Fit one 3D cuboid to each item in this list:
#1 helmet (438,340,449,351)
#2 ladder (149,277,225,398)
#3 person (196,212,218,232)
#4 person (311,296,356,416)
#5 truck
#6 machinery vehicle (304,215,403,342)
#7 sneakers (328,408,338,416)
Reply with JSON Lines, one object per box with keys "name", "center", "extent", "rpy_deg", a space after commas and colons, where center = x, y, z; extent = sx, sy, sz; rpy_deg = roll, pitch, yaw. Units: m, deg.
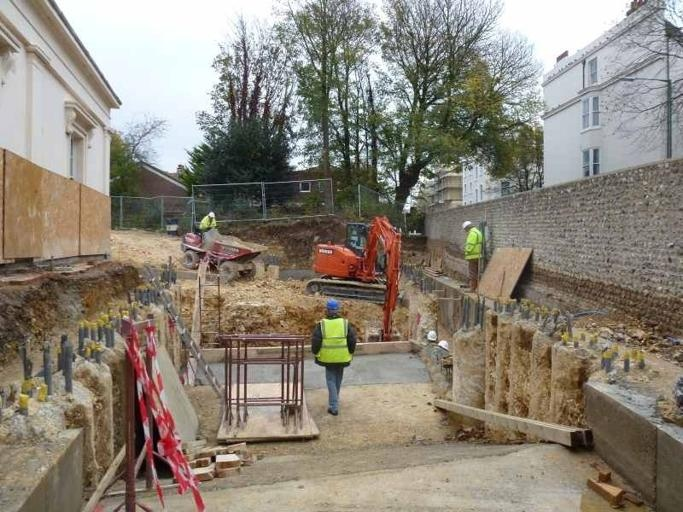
{"name": "helmet", "center": [2.428, 2.130, 15.864], "extent": [0.217, 0.120, 0.308], "rpy_deg": [2, -2, 9]}
{"name": "ladder", "center": [-3.328, 1.819, 14.541], "extent": [0.131, 2.715, 0.271], "rpy_deg": [-34, 0, 45]}
{"name": "person", "center": [-4.764, -1.170, 23.777], "extent": [0.543, 0.692, 0.977], "rpy_deg": [-2, 7, -17]}
{"name": "person", "center": [-0.135, 1.922, 12.729], "extent": [0.792, 2.168, 0.825], "rpy_deg": [0, 7, 1]}
{"name": "truck", "center": [-4.516, -0.028, 23.654], "extent": [2.318, 1.240, 1.749], "rpy_deg": [10, 12, 22]}
{"name": "machinery vehicle", "center": [0.289, 0.322, 21.507], "extent": [3.831, 4.935, 2.618], "rpy_deg": [2, 5, 16]}
{"name": "sneakers", "center": [-0.160, 2.978, 12.726], "extent": [0.075, 0.107, 0.232], "rpy_deg": [1, 6, -19]}
